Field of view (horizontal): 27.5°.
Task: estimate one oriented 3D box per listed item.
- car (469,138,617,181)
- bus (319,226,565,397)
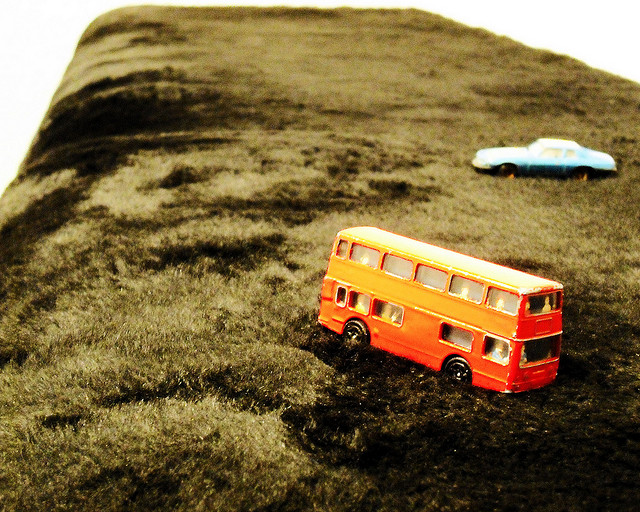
[{"bbox_3d":[10.908,-4.692,63.565,6.815,2.074,2.537,1,12,-5],"label":"car"},{"bbox_3d":[4.525,1.870,53.896,9.181,4.931,3.497,19,23,26],"label":"bus"}]
